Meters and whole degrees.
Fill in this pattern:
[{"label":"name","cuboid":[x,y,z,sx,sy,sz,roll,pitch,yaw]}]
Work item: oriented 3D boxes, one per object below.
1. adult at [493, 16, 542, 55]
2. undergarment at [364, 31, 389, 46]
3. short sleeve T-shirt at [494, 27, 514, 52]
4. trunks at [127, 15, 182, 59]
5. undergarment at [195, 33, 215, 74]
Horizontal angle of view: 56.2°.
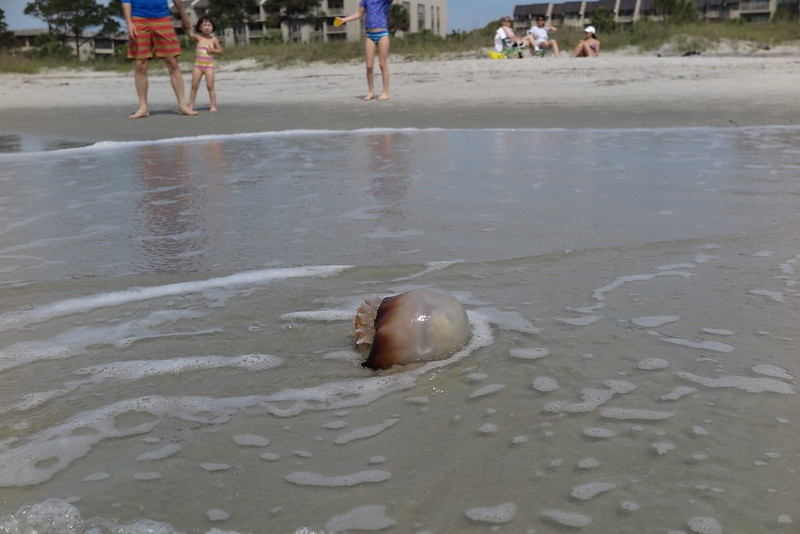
[{"label":"adult","cuboid":[2.855,-5.351,17.428,1.276,0.801,0.604,9,30,33]},{"label":"undergarment","cuboid":[-0.309,-3.281,10.748,0.294,0.138,0.228,2,2,2]},{"label":"short sleeve T-shirt","cuboid":[2.383,-5.289,17.437,0.538,0.488,0.251,-2,-4,-31]},{"label":"trunks","cuboid":[-3.161,-2.917,9.452,0.749,0.522,0.291,-13,28,-35]},{"label":"undergarment","cuboid":[-2.733,-2.968,10.521,0.351,0.413,0.175,0,-18,-3]}]
